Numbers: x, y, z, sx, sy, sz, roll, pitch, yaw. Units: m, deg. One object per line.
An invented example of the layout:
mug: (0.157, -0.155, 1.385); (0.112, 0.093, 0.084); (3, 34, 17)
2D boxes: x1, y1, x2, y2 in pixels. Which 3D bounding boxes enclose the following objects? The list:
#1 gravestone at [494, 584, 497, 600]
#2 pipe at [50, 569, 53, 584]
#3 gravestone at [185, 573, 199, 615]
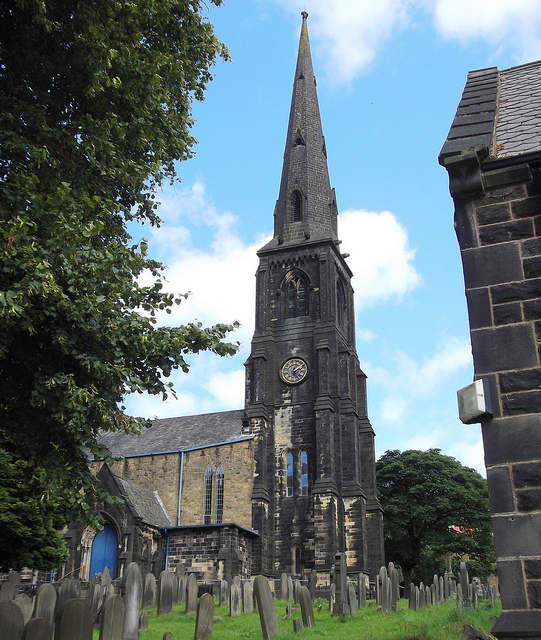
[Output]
gravestone: (8.797, 10.633, 23.288); (0.142, 0.415, 1.278); (-9, -29, 17)
pipe: (-10.377, 12.009, 28.027); (0.125, 0.395, 0.416); (11, -29, -19)
gravestone: (-2.007, 7.000, 15.032); (0.063, 0.681, 0.398); (21, -34, -40)
